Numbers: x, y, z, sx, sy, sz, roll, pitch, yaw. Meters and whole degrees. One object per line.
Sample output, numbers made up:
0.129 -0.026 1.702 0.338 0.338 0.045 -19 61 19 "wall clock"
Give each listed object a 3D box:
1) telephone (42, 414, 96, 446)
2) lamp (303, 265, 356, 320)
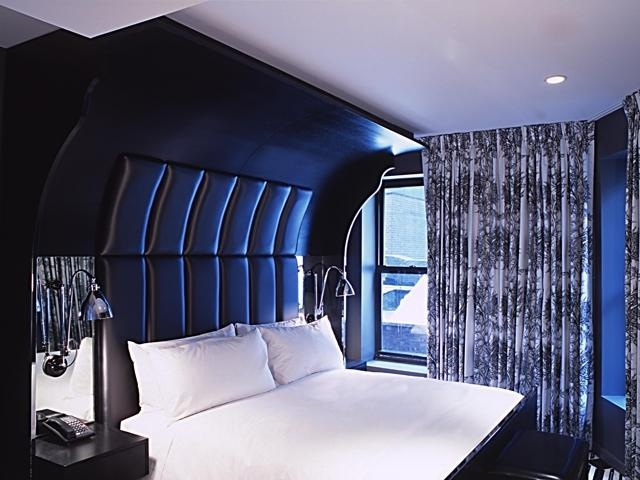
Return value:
-1.447 1.066 2.683 0.189 0.060 0.141 13 0 26 "telephone"
0.077 0.530 4.897 0.458 0.550 0.510 2 4 -1 "lamp"
